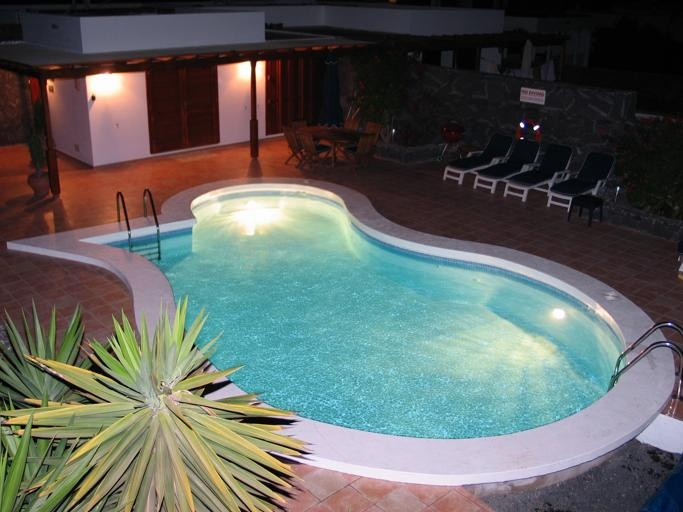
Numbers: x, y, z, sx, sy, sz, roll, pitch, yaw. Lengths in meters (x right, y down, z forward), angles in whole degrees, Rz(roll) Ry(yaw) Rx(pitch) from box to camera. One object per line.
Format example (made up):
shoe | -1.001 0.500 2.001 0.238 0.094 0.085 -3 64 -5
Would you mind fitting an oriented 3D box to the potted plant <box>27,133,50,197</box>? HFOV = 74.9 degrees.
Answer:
potted plant | -7.758 -2.305 11.495 0.659 1.560 0.641 -6 25 -39
